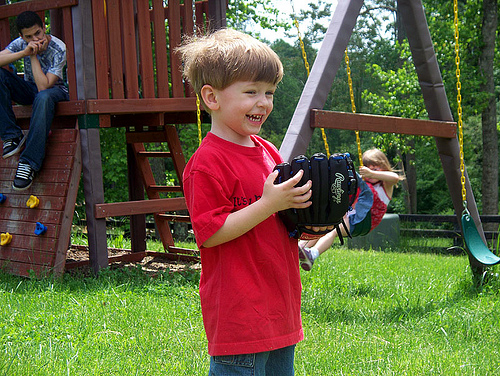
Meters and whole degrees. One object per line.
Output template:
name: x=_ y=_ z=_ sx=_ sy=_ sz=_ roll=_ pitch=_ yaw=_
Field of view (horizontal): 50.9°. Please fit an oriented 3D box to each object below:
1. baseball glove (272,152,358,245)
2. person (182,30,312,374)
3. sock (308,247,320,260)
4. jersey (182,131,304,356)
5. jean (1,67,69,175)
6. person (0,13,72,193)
baseball glove: x=0.368 y=0.052 z=2.954 sx=0.434 sy=0.491 sz=0.391 roll=3 pitch=-2 yaw=-21
person: x=-0.032 y=0.059 z=2.848 sx=0.676 sy=1.862 sz=0.401 roll=2 pitch=2 yaw=-8
sock: x=0.770 y=0.773 z=6.271 sx=0.097 sy=0.122 sz=0.104 roll=-9 pitch=-6 yaw=-1
jersey: x=-0.031 y=0.296 z=2.808 sx=0.678 sy=1.160 sz=0.306 roll=2 pitch=2 yaw=-8
jean: x=-2.602 y=-0.923 z=6.343 sx=0.647 sy=0.590 sz=1.373 roll=17 pitch=33 yaw=-6
person: x=-2.626 y=-1.089 z=6.419 sx=0.766 sy=2.298 sz=1.182 roll=2 pitch=2 yaw=-24
